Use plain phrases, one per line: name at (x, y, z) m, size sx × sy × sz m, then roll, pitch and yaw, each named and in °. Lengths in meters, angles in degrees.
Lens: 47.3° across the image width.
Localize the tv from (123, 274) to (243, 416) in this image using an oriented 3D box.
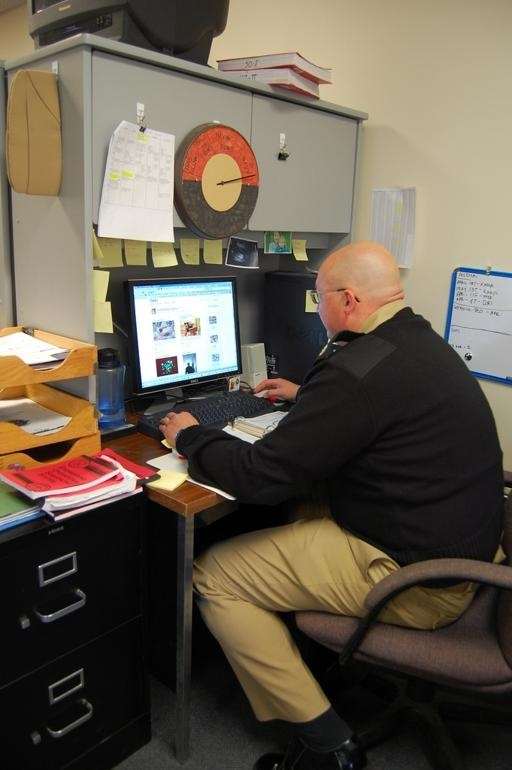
tv at (-0.206, -0.126, 1.725) m, size 0.387 × 0.362 × 0.065 m, roll -12°, pitch 16°, yaw -43°

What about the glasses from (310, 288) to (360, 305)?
glasses at (0.184, -0.202, 1.334) m, size 0.112 × 0.035 × 0.110 m, roll 5°, pitch 20°, yaw 28°

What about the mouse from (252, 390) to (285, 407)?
mouse at (0.041, 0.038, 1.779) m, size 0.065 × 0.021 × 0.049 m, roll 26°, pitch 2°, yaw -1°
